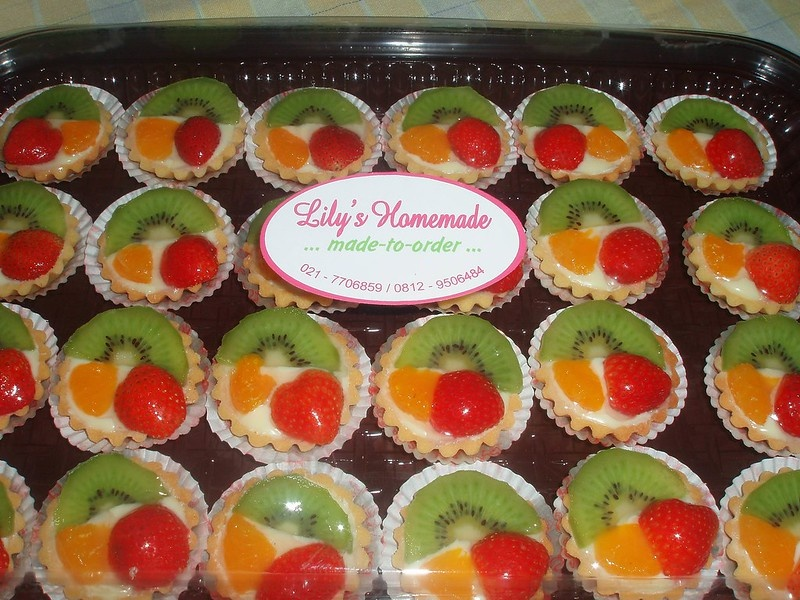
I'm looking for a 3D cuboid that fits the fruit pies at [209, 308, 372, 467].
[{"bbox_3d":[-0.458,0.349,3.343,0.679,0.426,0.506,1,40,-10],"label":"fruit pies"}]
